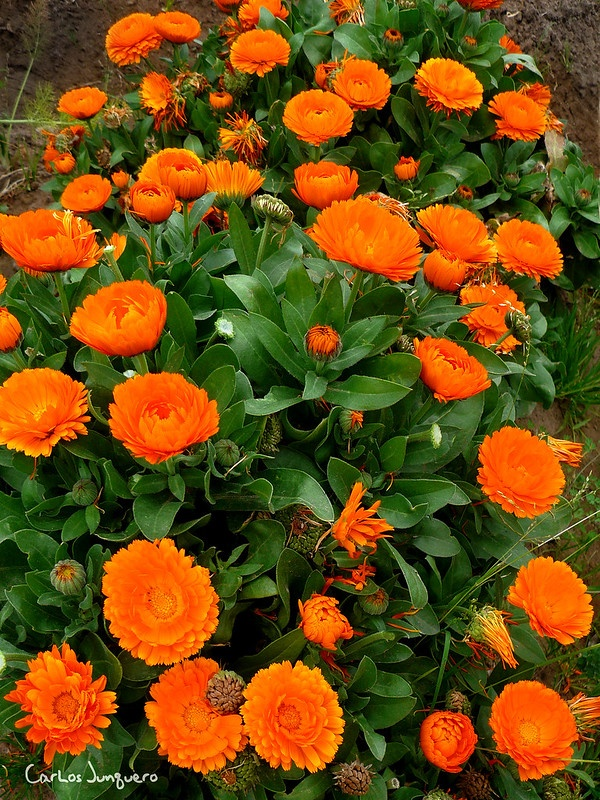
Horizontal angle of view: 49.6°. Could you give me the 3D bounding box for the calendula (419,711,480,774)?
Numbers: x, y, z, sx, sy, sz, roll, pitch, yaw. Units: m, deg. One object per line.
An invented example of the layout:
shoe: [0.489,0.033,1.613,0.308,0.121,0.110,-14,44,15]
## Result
calendula: [0.319,0.722,1.385,0.114,0.089,0.128,-5,71,3]
